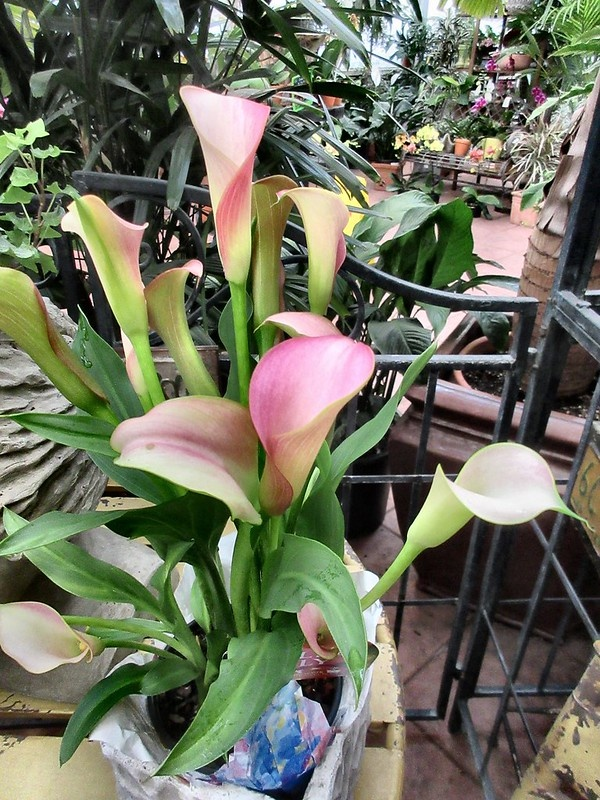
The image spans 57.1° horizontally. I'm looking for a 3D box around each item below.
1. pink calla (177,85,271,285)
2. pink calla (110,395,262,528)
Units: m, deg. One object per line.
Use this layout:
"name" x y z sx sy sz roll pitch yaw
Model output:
"pink calla" -0.038 -0.096 0.253 0.038 0.082 0.049 4 28 -10
"pink calla" -0.038 0.029 0.242 0.066 0.025 0.049 30 48 -22
